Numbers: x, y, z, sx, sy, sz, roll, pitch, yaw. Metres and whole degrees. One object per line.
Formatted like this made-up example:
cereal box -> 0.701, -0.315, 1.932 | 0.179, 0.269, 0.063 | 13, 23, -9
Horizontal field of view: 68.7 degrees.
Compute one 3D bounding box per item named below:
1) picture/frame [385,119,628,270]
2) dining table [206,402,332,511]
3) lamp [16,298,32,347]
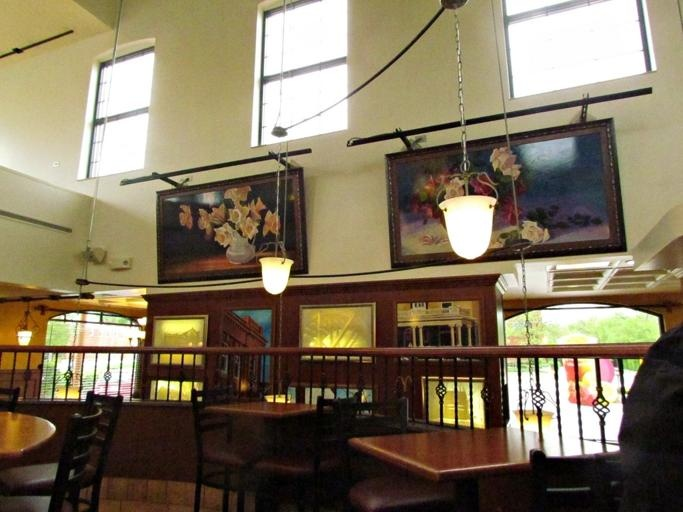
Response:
picture/frame -> 2.251, -0.816, 6.481 | 2.102, 1.256, 0.086 | -3, -5, 17
dining table -> -0.594, 1.577, 4.516 | 1.034, 1.019, 1.047 | -3, -4, 31
lamp -> -7.446, 1.562, 11.804 | 0.318, 1.001, 0.749 | 8, -18, -31
